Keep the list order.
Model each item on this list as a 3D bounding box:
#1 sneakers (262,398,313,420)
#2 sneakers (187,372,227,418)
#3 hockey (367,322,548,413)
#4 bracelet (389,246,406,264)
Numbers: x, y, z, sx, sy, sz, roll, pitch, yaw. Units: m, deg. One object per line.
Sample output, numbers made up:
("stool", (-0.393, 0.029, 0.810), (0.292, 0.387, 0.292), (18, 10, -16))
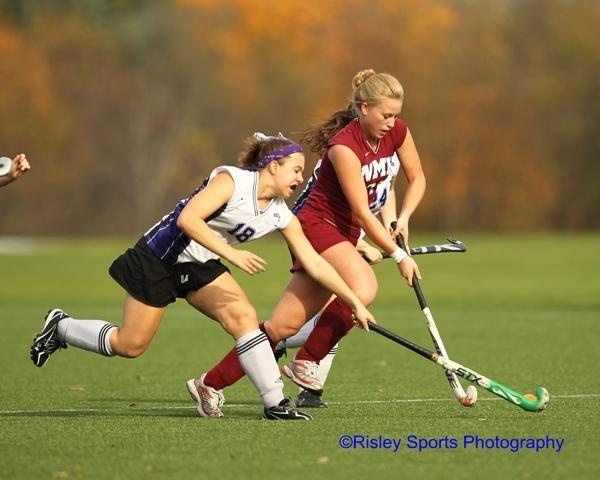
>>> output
("sneakers", (-0.095, 1.056, 5.419), (0.331, 0.146, 0.112), (2, 0, 4))
("sneakers", (-0.604, 0.993, 5.626), (0.173, 0.370, 0.125), (-32, -11, 5))
("hockey", (1.279, 1.034, 7.076), (1.412, 0.209, 0.192), (24, -8, 42))
("bracelet", (0.633, 0.092, 5.619), (0.101, 0.094, 0.104), (-27, -35, 35))
